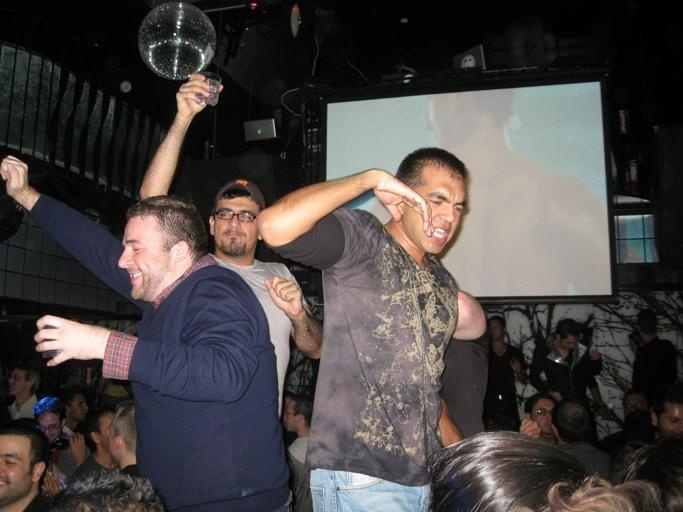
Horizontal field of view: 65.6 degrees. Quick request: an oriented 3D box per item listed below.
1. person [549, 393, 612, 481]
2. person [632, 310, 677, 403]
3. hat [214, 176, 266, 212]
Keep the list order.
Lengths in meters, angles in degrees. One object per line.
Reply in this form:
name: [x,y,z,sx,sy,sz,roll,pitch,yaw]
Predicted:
person: [1.779,1.347,4.175,0.319,0.323,1.051,2,-53,11]
person: [3.312,1.019,5.624,0.391,0.957,0.638,-7,-12,38]
hat: [-0.691,-0.464,3.615,0.194,0.295,0.283,-4,9,-2]
